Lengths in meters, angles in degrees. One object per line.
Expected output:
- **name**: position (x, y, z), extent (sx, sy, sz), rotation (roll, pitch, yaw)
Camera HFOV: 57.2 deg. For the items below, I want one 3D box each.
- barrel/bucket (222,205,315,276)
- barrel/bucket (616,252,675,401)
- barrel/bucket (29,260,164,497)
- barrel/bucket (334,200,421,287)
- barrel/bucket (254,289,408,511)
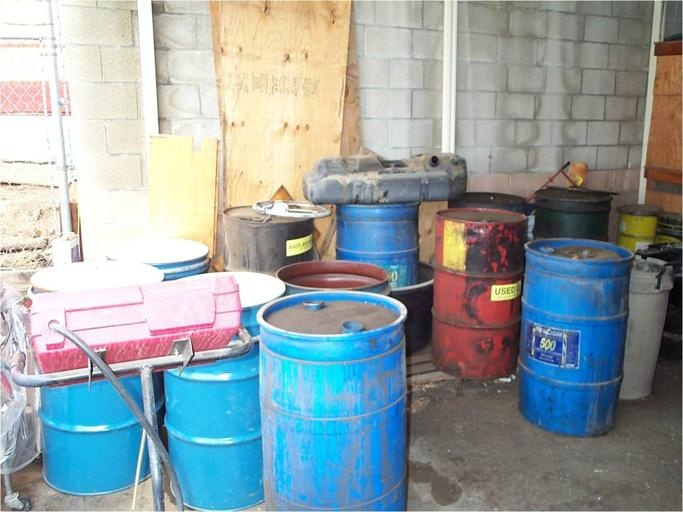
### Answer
- **barrel/bucket**: position (-0.528, -0.124, 4.394), extent (0.491, 0.319, 0.481), rotation (5, 16, -1)
- **barrel/bucket**: position (2.133, 0.529, 4.495), extent (0.346, 1.008, 0.249), rotation (-14, 20, -34)
- **barrel/bucket**: position (-1.419, 0.719, 3.732), extent (0.758, 1.261, 0.708), rotation (-2, 16, 1)
- **barrel/bucket**: position (0.280, -0.088, 4.746), extent (0.622, 0.683, 0.627), rotation (-1, 4, 0)
- **barrel/bucket**: position (-0.048, 0.737, 3.753), extent (0.970, 1.541, 0.953), rotation (1, 11, 0)
